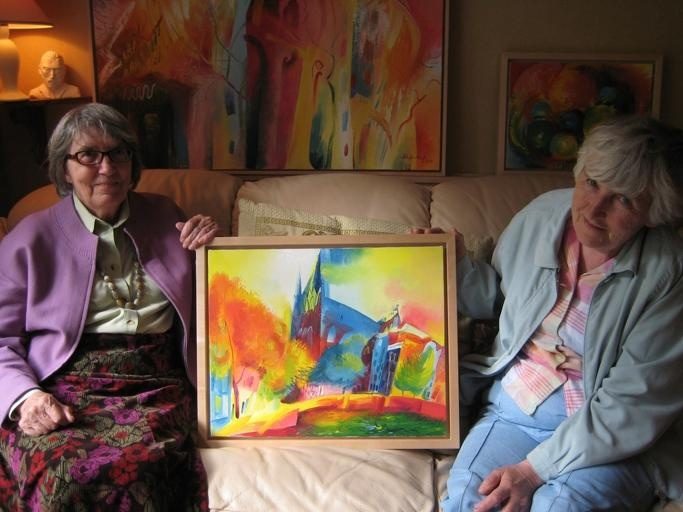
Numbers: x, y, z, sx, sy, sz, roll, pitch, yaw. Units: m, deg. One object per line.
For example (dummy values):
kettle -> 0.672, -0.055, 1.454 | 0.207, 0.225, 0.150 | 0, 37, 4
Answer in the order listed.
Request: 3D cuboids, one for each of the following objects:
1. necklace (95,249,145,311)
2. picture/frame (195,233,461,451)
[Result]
necklace -> -0.823, 0.092, 2.329 | 0.142, 0.167, 0.059 | -17, 0, -26
picture/frame -> -0.028, 0.349, 2.300 | 0.671, 0.657, 0.026 | -1, -4, 0
